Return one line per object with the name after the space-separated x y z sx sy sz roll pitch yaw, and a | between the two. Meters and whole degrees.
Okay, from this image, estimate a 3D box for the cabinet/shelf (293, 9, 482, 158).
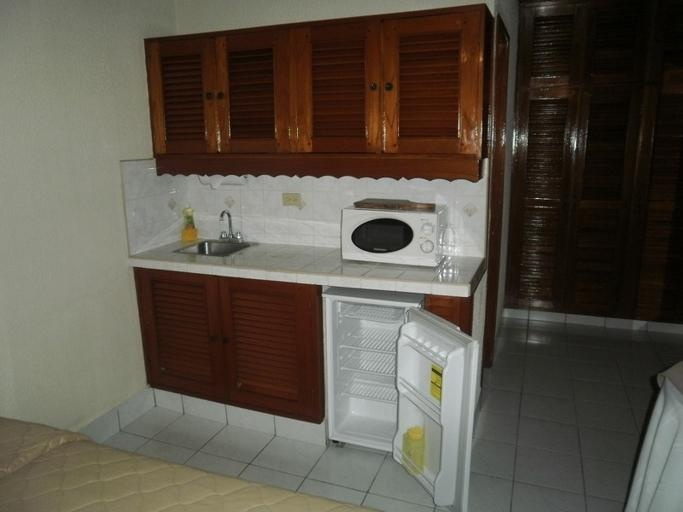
0.325 -1.083 3.231 0.927 0.602 0.329 4 14 19 | cabinet/shelf

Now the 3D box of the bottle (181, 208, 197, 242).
-1.193 -0.239 4.058 0.120 0.245 0.145 -5 18 -17 | bottle

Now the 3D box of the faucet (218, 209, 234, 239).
-0.893 -0.249 4.047 0.106 0.224 0.131 -5 18 -17 | faucet

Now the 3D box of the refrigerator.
0.348 0.855 3.104 0.976 0.966 0.717 6 17 21 | refrigerator

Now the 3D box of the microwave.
0.308 -0.123 3.315 0.640 0.395 0.386 4 11 22 | microwave
